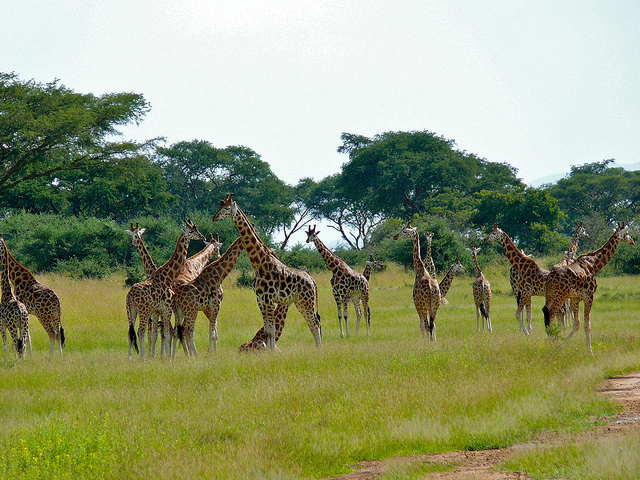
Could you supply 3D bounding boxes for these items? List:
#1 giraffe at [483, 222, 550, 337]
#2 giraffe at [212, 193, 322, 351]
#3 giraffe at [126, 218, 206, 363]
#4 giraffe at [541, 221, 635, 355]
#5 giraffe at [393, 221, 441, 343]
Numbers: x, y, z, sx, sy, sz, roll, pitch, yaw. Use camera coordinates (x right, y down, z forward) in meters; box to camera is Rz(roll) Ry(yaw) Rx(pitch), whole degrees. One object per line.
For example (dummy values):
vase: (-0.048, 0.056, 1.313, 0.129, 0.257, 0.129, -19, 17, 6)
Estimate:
giraffe: (6.693, 1.237, 31.130, 1.099, 3.447, 1.957, -7, 7, -42)
giraffe: (-1.470, 0.996, 29.351, 2.856, 5.044, 1.148, -3, 5, -7)
giraffe: (-5.142, 1.673, 30.263, 1.008, 4.264, 2.415, 2, 7, 36)
giraffe: (8.430, 1.321, 29.440, 2.458, 3.445, 4.998, 0, 7, 22)
giraffe: (3.335, 1.446, 30.919, 1.142, 3.834, 2.922, -2, 6, 0)
